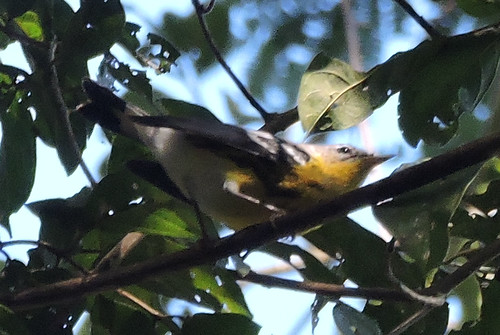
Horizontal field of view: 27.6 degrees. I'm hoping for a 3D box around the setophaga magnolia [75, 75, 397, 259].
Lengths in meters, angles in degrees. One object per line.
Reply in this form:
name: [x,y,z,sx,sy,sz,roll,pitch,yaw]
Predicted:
setophaga magnolia: [-0.042,0.016,2.056,0.679,0.267,0.209,19,-36,12]
